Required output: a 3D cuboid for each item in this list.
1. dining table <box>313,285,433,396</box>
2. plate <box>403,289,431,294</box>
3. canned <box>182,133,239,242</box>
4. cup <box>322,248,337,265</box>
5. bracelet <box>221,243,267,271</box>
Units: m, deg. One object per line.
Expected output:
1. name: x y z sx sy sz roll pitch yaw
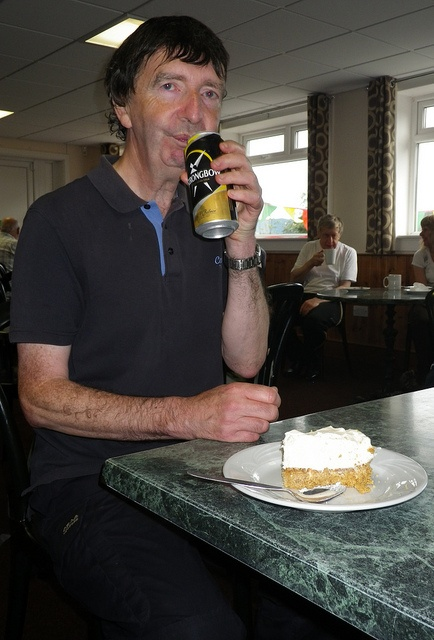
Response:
1. dining table: 1.272 0.161 3.870 0.846 0.605 0.864 0 -1 26
2. plate: 1.647 -0.249 4.023 0.129 0.018 0.128 -14 19 -19
3. canned: -0.012 -0.227 0.823 0.072 0.121 0.097 -1 1 19
4. cup: 1.029 -0.582 4.453 0.095 0.131 0.153 -1 1 11
5. bracelet: 0.063 -0.159 1.154 0.086 0.060 0.099 1 9 32
